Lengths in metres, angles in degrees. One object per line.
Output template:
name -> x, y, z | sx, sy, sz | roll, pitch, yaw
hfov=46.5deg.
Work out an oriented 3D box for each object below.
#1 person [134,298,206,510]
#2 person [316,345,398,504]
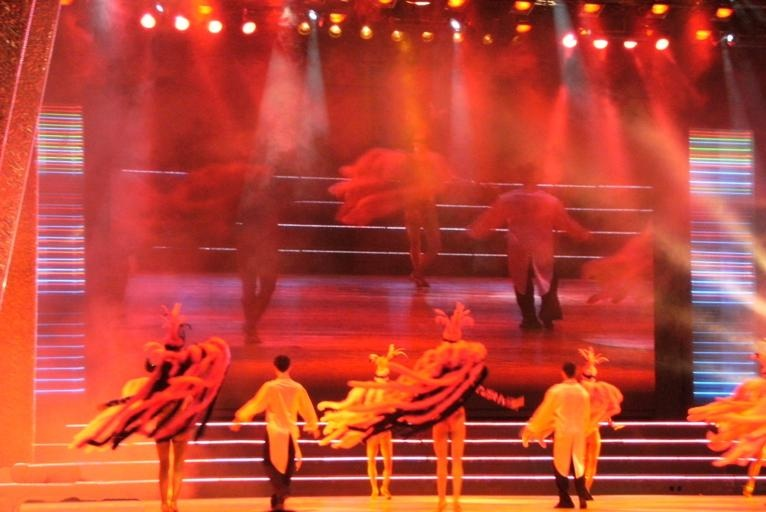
person -> -2.355, 1.596, 9.674 | 0.577, 2.161, 1.122 | -2, -1, -14
person -> -0.244, 1.844, 9.944 | 0.838, 1.632, 1.189 | -2, -1, 3
